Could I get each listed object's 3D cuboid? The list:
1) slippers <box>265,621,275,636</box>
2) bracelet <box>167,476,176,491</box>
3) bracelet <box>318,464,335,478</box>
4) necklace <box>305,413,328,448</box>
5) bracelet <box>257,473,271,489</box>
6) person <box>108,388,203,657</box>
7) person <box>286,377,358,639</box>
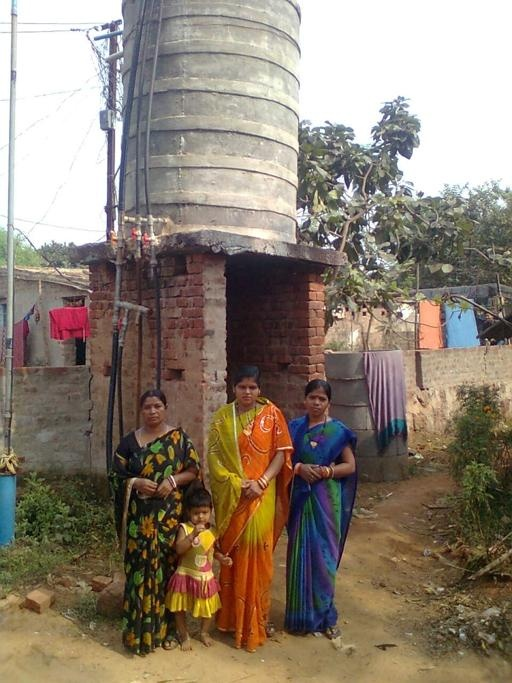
[{"bbox_3d":[0.084,1.712,4.163,0.061,0.082,0.050,0,2,-3],"label":"slippers"},{"bbox_3d":[-0.466,0.789,3.901,0.024,0.064,0.054,-23,15,-9],"label":"bracelet"},{"bbox_3d":[0.414,0.763,4.122,0.050,0.071,0.073,3,-31,13],"label":"bracelet"},{"bbox_3d":[0.357,0.551,4.219,0.135,0.174,0.053,-1,-6,14],"label":"necklace"},{"bbox_3d":[0.039,0.796,4.004,0.052,0.067,0.068,-29,-28,-17],"label":"bracelet"},{"bbox_3d":[-0.563,1.083,3.961,0.464,1.212,0.464,0,8,-19],"label":"person"},{"bbox_3d":[0.379,0.978,4.213,0.416,1.497,0.429,4,8,7],"label":"person"}]
